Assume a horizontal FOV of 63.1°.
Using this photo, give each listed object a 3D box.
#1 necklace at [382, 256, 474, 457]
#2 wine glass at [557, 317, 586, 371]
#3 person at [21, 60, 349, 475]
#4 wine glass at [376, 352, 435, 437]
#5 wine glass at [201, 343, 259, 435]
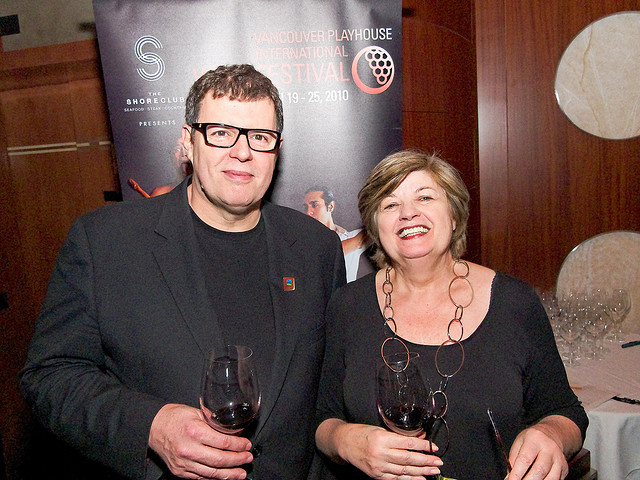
[{"bbox_3d":[0.615,0.558,2.550,0.311,0.092,1.104,1,60,6],"label":"necklace"},{"bbox_3d":[1.846,0.775,3.823,0.214,0.456,0.214,7,-11,-30],"label":"wine glass"},{"bbox_3d":[-0.614,0.250,2.496,1.451,2.071,1.075,0,16,2],"label":"person"},{"bbox_3d":[0.374,0.706,2.311,0.248,0.311,0.180,1,16,6],"label":"wine glass"},{"bbox_3d":[-0.408,0.620,2.285,0.246,0.337,0.369,-5,17,-14],"label":"wine glass"}]
